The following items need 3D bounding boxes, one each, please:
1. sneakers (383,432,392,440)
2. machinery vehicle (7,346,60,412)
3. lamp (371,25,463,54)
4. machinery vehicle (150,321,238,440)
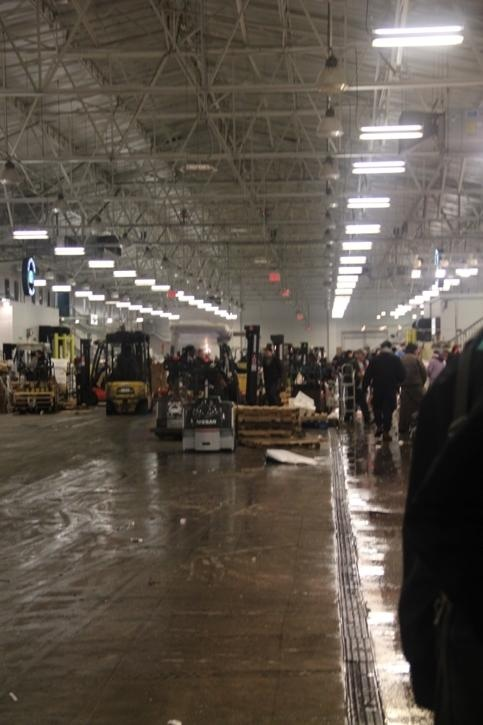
[{"bbox_3d":[2.741,1.373,13.764,0.099,0.142,0.175,13,3,28],"label":"sneakers"},{"bbox_3d":[-7.253,0.509,26.220,1.076,3.264,4.633,0,-3,0],"label":"machinery vehicle"},{"bbox_3d":[1.955,-3.692,8.186,0.950,0.303,0.490,2,0,14],"label":"lamp"},{"bbox_3d":[-1.264,0.599,16.623,0.839,2.619,3.516,5,-4,-1],"label":"machinery vehicle"}]
